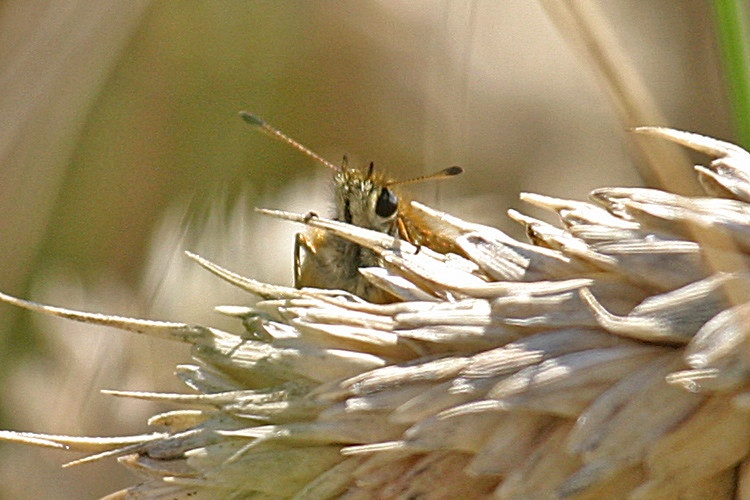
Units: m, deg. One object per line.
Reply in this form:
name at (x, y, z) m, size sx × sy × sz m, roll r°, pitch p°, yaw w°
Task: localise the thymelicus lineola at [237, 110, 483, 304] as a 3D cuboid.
thymelicus lineola at (-0.008, -0.029, 0.962) m, size 0.286 × 0.108 × 0.181 m, roll -6°, pitch -3°, yaw -1°
